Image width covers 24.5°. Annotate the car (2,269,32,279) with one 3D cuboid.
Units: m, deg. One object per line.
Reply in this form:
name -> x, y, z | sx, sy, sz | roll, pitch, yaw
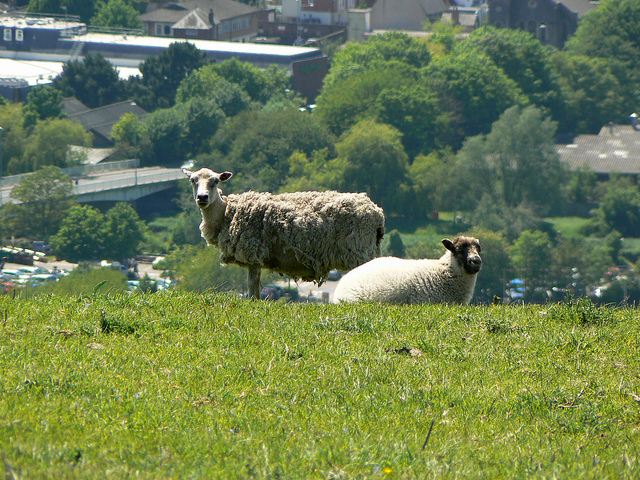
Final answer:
car -> -41.065, 4.459, 201.126 | 1.955, 0.759, 2.030 | 8, -3, 27
